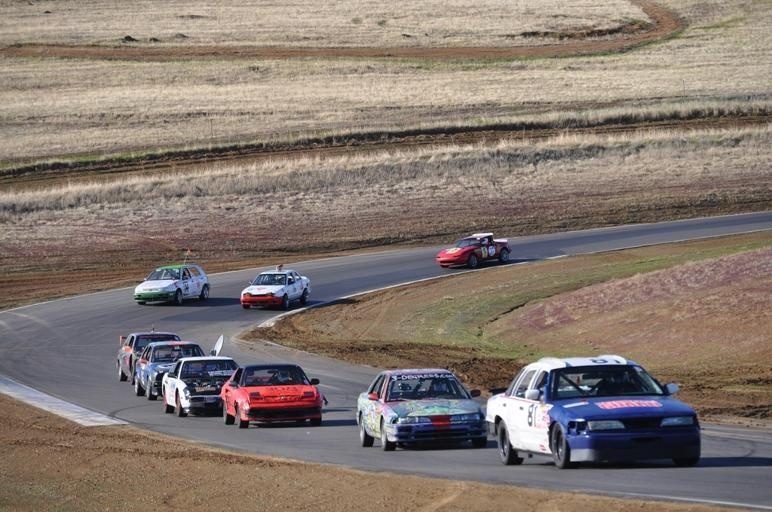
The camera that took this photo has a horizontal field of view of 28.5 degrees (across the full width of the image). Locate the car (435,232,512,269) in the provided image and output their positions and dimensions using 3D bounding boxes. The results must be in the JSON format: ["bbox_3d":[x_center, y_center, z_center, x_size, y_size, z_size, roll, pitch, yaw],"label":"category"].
[{"bbox_3d":[5.563,-0.362,97.419,4.479,2.051,1.251,-6,8,-21],"label":"car"}]

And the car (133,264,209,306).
[{"bbox_3d":[-13.157,1.770,93.741,4.486,2.365,1.704,-9,8,-35],"label":"car"}]

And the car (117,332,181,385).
[{"bbox_3d":[-12.466,5.503,80.506,2.947,2.320,5.075,3,-5,-4],"label":"car"}]
